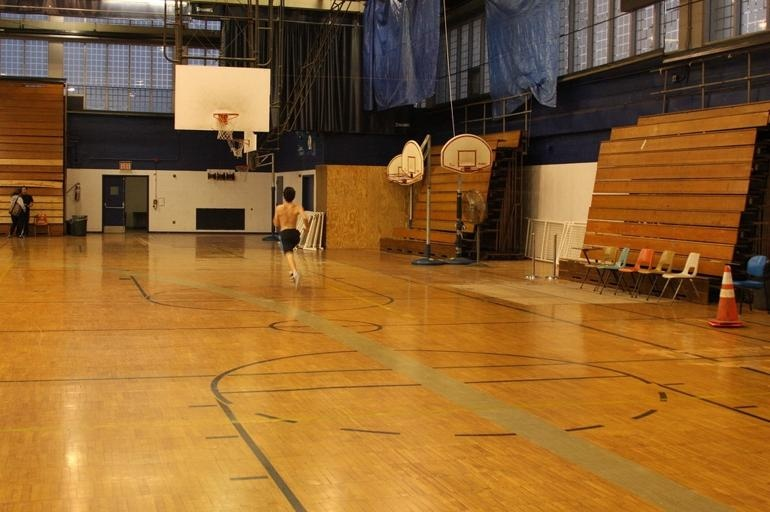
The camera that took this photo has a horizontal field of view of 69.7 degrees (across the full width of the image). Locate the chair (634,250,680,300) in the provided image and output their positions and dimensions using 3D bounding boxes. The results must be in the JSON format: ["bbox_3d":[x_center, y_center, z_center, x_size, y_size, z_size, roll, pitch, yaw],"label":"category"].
[{"bbox_3d":[4.390,0.273,9.173,0.483,0.660,0.596,-3,4,42],"label":"chair"}]

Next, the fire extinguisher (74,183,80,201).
[{"bbox_3d":[-13.353,-2.794,24.224,0.080,0.698,0.255,13,12,44],"label":"fire extinguisher"}]

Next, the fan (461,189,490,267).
[{"bbox_3d":[2.187,-0.779,14.383,0.707,1.857,1.623,6,8,9],"label":"fan"}]

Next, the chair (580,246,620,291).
[{"bbox_3d":[3.931,0.224,10.140,0.614,0.705,0.534,-10,3,-28],"label":"chair"}]

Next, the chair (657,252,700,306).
[{"bbox_3d":[4.759,0.350,9.028,0.527,0.832,0.793,8,9,26],"label":"chair"}]

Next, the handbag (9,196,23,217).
[{"bbox_3d":[-12.893,-1.792,19.503,0.336,0.726,0.338,-1,10,-34],"label":"handbag"}]

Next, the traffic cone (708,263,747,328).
[{"bbox_3d":[4.496,0.528,7.464,0.710,0.789,0.646,2,3,24],"label":"traffic cone"}]

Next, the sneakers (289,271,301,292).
[{"bbox_3d":[-1.675,0.472,10.298,0.210,0.143,0.459,5,-21,4],"label":"sneakers"}]

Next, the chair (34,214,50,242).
[{"bbox_3d":[-13.019,-1.210,21.179,0.492,0.860,0.553,-1,9,-30],"label":"chair"}]
